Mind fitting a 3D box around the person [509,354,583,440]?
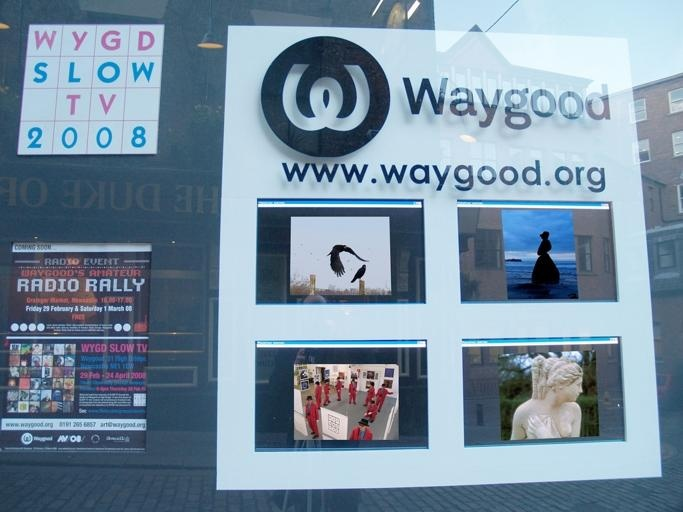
[{"bbox_3d":[1.466,1.043,5.251,0.518,0.934,0.363,1,-6,-9],"label":"person"}]
